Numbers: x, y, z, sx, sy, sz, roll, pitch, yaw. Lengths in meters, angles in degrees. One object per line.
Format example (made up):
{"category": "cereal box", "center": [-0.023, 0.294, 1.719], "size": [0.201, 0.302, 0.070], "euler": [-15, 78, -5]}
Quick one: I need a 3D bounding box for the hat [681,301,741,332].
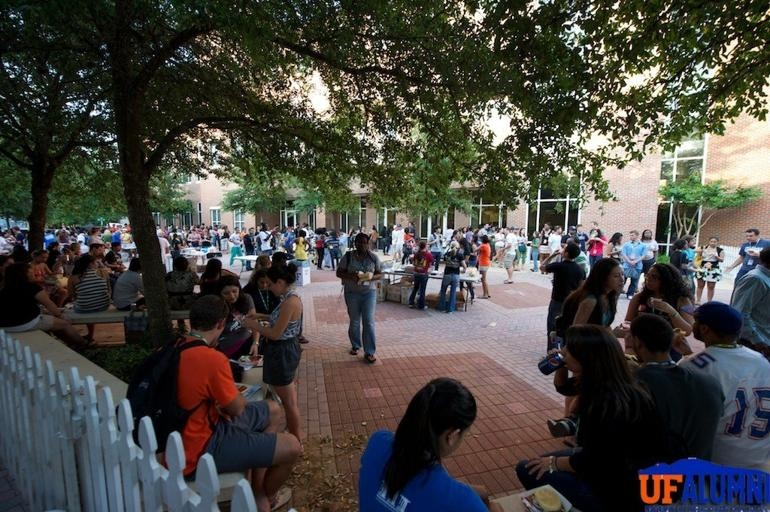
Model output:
{"category": "hat", "center": [3.585, 0.672, 5.229], "size": [0.297, 0.204, 0.394], "euler": [-13, 21, -18]}

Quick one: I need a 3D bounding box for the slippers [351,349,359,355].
{"category": "slippers", "center": [-0.561, 1.786, 8.899], "size": [0.093, 0.051, 0.119], "euler": [3, 3, -1]}

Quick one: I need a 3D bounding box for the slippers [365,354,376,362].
{"category": "slippers", "center": [-0.266, 1.847, 8.636], "size": [0.092, 0.097, 0.228], "euler": [0, -2, -28]}

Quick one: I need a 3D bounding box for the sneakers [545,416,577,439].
{"category": "sneakers", "center": [1.972, 1.863, 5.330], "size": [0.455, 0.201, 0.265], "euler": [1, -4, -38]}
